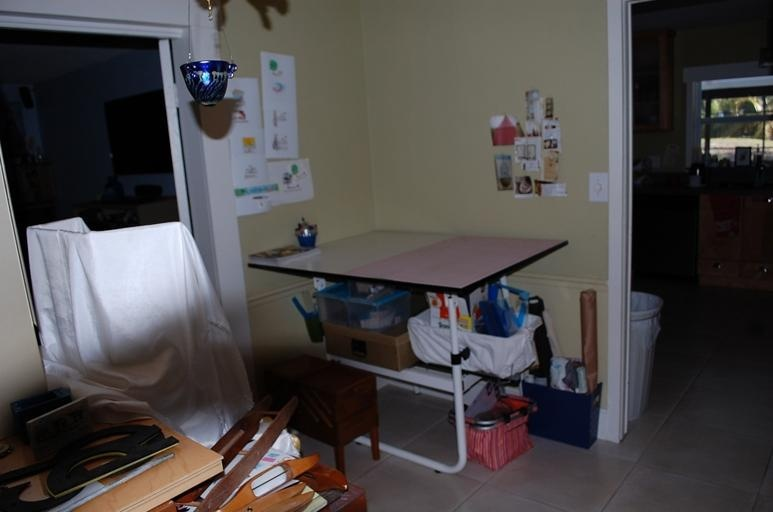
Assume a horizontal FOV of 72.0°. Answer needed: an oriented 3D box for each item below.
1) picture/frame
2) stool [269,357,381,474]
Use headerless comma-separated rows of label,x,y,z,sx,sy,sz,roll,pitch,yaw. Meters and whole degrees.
picture/frame,3.038,-2.023,6.107,0.417,1.107,0.178,2,15,25
stool,-0.359,0.930,3.071,0.604,0.597,0.300,3,16,28
